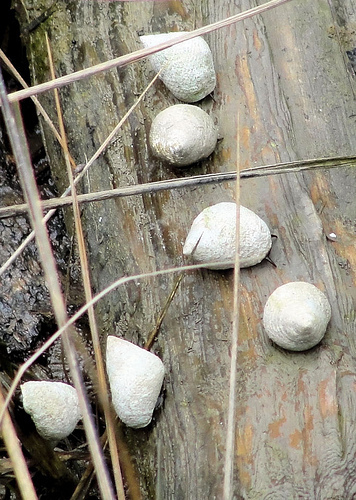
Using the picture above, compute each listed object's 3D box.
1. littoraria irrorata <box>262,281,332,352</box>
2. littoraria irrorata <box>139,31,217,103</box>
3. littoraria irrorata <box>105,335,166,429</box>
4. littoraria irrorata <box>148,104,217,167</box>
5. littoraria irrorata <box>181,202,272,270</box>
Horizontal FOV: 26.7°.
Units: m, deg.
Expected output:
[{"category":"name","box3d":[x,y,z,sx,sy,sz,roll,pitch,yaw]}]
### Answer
[{"category":"littoraria irrorata","box3d":[0.269,0.149,1.720,0.145,0.111,0.140,16,43,32]},{"category":"littoraria irrorata","box3d":[0.005,-0.457,1.874,0.176,0.174,0.166,-11,35,-1]},{"category":"littoraria irrorata","box3d":[-0.103,0.313,1.767,0.144,0.231,0.130,11,16,25]},{"category":"littoraria irrorata","box3d":[0.009,-0.279,1.821,0.135,0.117,0.151,23,47,38]},{"category":"littoraria irrorata","box3d":[0.127,-0.058,1.826,0.223,0.091,0.270,8,13,-23]}]
